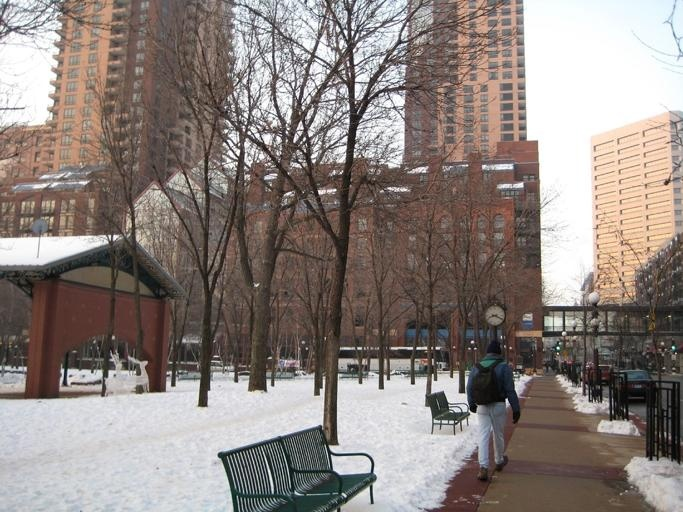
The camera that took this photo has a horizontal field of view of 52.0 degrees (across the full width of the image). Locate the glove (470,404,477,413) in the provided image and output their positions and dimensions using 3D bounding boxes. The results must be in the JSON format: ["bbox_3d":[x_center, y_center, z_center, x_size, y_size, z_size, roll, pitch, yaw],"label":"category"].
[{"bbox_3d":[2.967,3.487,15.925,0.149,0.146,0.167,7,-8,-38],"label":"glove"}]

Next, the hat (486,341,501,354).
[{"bbox_3d":[3.541,2.144,16.283,0.282,0.313,0.259,1,-1,-21],"label":"hat"}]

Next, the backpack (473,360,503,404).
[{"bbox_3d":[3.317,2.917,15.872,0.592,0.898,0.481,-14,-34,35],"label":"backpack"}]
